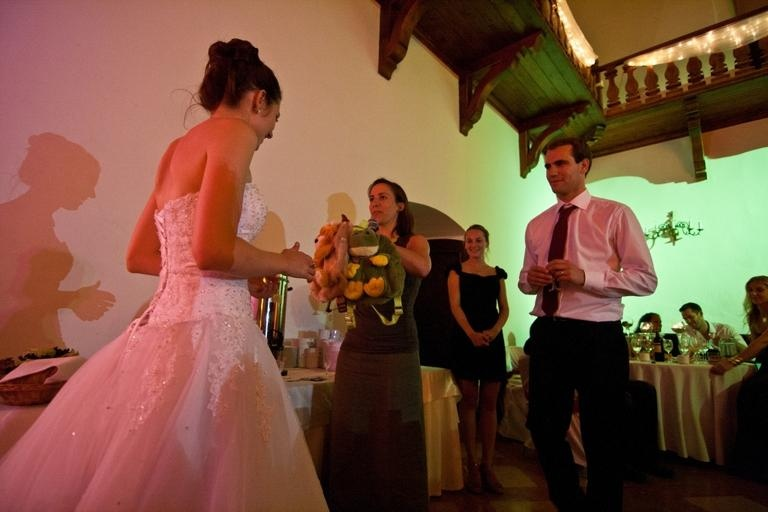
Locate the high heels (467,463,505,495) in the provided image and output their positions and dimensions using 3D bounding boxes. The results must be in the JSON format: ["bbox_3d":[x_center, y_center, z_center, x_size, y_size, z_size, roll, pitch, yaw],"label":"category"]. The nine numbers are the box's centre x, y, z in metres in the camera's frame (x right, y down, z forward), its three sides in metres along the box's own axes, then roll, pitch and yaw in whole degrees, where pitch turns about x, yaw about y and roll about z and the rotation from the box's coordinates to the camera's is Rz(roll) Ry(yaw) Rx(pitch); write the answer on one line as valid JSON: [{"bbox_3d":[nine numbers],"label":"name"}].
[{"bbox_3d":[0.834,1.912,3.962,0.145,0.185,0.434,7,-21,-24],"label":"high heels"}]

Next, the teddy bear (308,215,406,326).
[{"bbox_3d":[-0.150,0.091,2.636,0.459,0.610,0.264,2,0,-10],"label":"teddy bear"}]

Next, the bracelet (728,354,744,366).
[{"bbox_3d":[3.506,1.042,4.639,0.092,0.058,0.111,-6,-4,11],"label":"bracelet"}]

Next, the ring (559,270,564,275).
[{"bbox_3d":[1.158,0.105,3.047,0.022,0.011,0.031,-23,19,20],"label":"ring"}]

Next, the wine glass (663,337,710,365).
[{"bbox_3d":[3.319,1.003,5.057,0.326,0.243,0.387,3,-16,-2],"label":"wine glass"}]

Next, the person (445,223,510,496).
[{"bbox_3d":[0.877,0.854,4.320,0.551,2.392,0.479,-1,-10,11],"label":"person"}]
